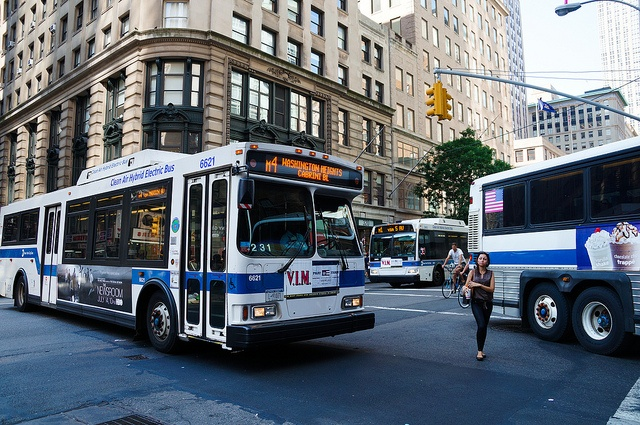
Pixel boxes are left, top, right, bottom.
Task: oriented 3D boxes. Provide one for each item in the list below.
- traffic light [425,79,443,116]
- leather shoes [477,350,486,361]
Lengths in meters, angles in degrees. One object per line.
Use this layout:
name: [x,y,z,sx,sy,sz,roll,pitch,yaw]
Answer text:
traffic light: [4.436,-4.376,20.728,0.580,1.146,0.677,-1,12,39]
leather shoes: [3.830,3.332,12.587,0.193,0.224,0.420,2,5,28]
